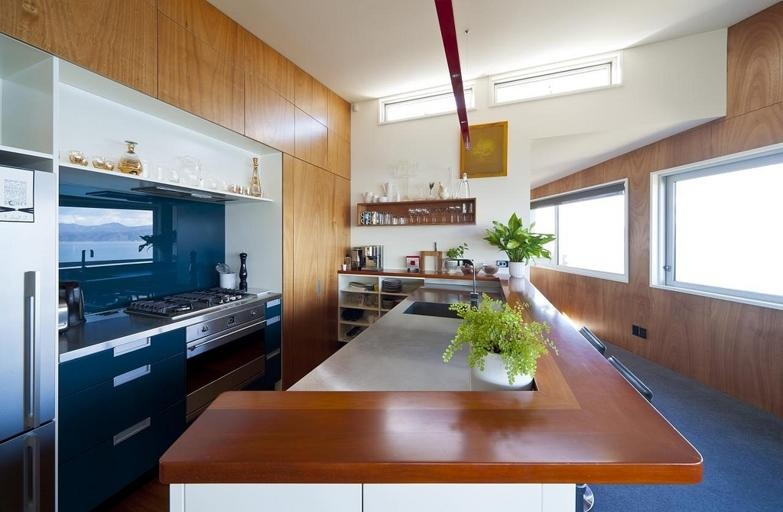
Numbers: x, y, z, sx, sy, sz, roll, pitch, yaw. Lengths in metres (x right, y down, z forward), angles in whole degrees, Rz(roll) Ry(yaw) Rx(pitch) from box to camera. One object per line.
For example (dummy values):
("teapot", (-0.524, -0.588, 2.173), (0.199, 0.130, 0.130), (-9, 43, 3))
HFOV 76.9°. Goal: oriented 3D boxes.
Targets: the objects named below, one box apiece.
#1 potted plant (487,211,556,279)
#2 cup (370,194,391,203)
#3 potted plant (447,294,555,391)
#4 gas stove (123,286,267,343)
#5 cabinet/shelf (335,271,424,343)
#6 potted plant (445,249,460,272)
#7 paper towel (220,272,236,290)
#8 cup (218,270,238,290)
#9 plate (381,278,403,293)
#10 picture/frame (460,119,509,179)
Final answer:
("potted plant", (1.569, -0.143, 6.152), (0.834, 0.796, 0.505), (1, 2, 14))
("cup", (-0.168, -0.778, 6.762), (0.132, 0.065, 0.167), (0, -2, -28))
("potted plant", (0.854, 0.528, 3.584), (0.729, 0.470, 0.714), (-2, 8, -22))
("gas stove", (-1.938, 0.507, 4.961), (0.714, 0.238, 1.233), (3, 4, 42))
("cabinet/shelf", (-0.220, 0.715, 6.668), (0.949, 0.934, 0.441), (1, 2, 21))
("potted plant", (0.791, 0.054, 6.431), (0.258, 0.268, 0.252), (0, 0, -5))
("paper towel", (-1.823, 0.264, 5.480), (0.193, 0.192, 0.178), (-4, 7, -39))
("cup", (-1.838, 0.267, 5.555), (0.207, 0.207, 0.192), (1, 6, 0))
("plate", (0.007, 0.387, 6.470), (0.243, 0.165, 0.143), (0, 2, -12))
("picture/frame", (1.210, -1.369, 6.240), (0.824, 0.880, 0.061), (1, 4, 18))
